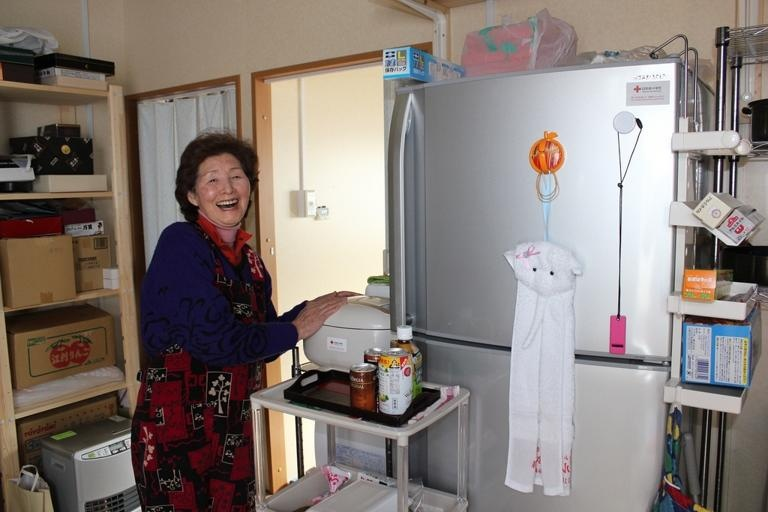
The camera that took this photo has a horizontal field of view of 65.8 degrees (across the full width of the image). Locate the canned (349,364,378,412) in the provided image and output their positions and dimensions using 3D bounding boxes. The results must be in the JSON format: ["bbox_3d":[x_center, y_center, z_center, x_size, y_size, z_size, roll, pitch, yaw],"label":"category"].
[{"bbox_3d":[-0.068,0.459,2.067,0.102,0.166,0.106,10,18,43],"label":"canned"}]

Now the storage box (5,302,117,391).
[{"bbox_3d":[-1.922,0.535,3.528,0.359,0.398,0.617,8,11,38],"label":"storage box"}]

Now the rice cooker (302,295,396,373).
[{"bbox_3d":[-0.139,0.311,2.451,0.387,0.275,0.291,-2,4,11],"label":"rice cooker"}]

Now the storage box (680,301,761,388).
[{"bbox_3d":[1.107,0.292,2.018,0.189,0.217,0.252,7,9,13],"label":"storage box"}]

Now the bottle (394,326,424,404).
[{"bbox_3d":[0.070,0.382,2.078,0.124,0.273,0.122,0,7,0],"label":"bottle"}]

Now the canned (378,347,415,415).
[{"bbox_3d":[0.039,0.427,2.035,0.121,0.208,0.120,1,6,16],"label":"canned"}]

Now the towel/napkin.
[{"bbox_3d":[0.567,0.376,2.108,0.224,0.860,0.205,2,10,31],"label":"towel/napkin"}]
